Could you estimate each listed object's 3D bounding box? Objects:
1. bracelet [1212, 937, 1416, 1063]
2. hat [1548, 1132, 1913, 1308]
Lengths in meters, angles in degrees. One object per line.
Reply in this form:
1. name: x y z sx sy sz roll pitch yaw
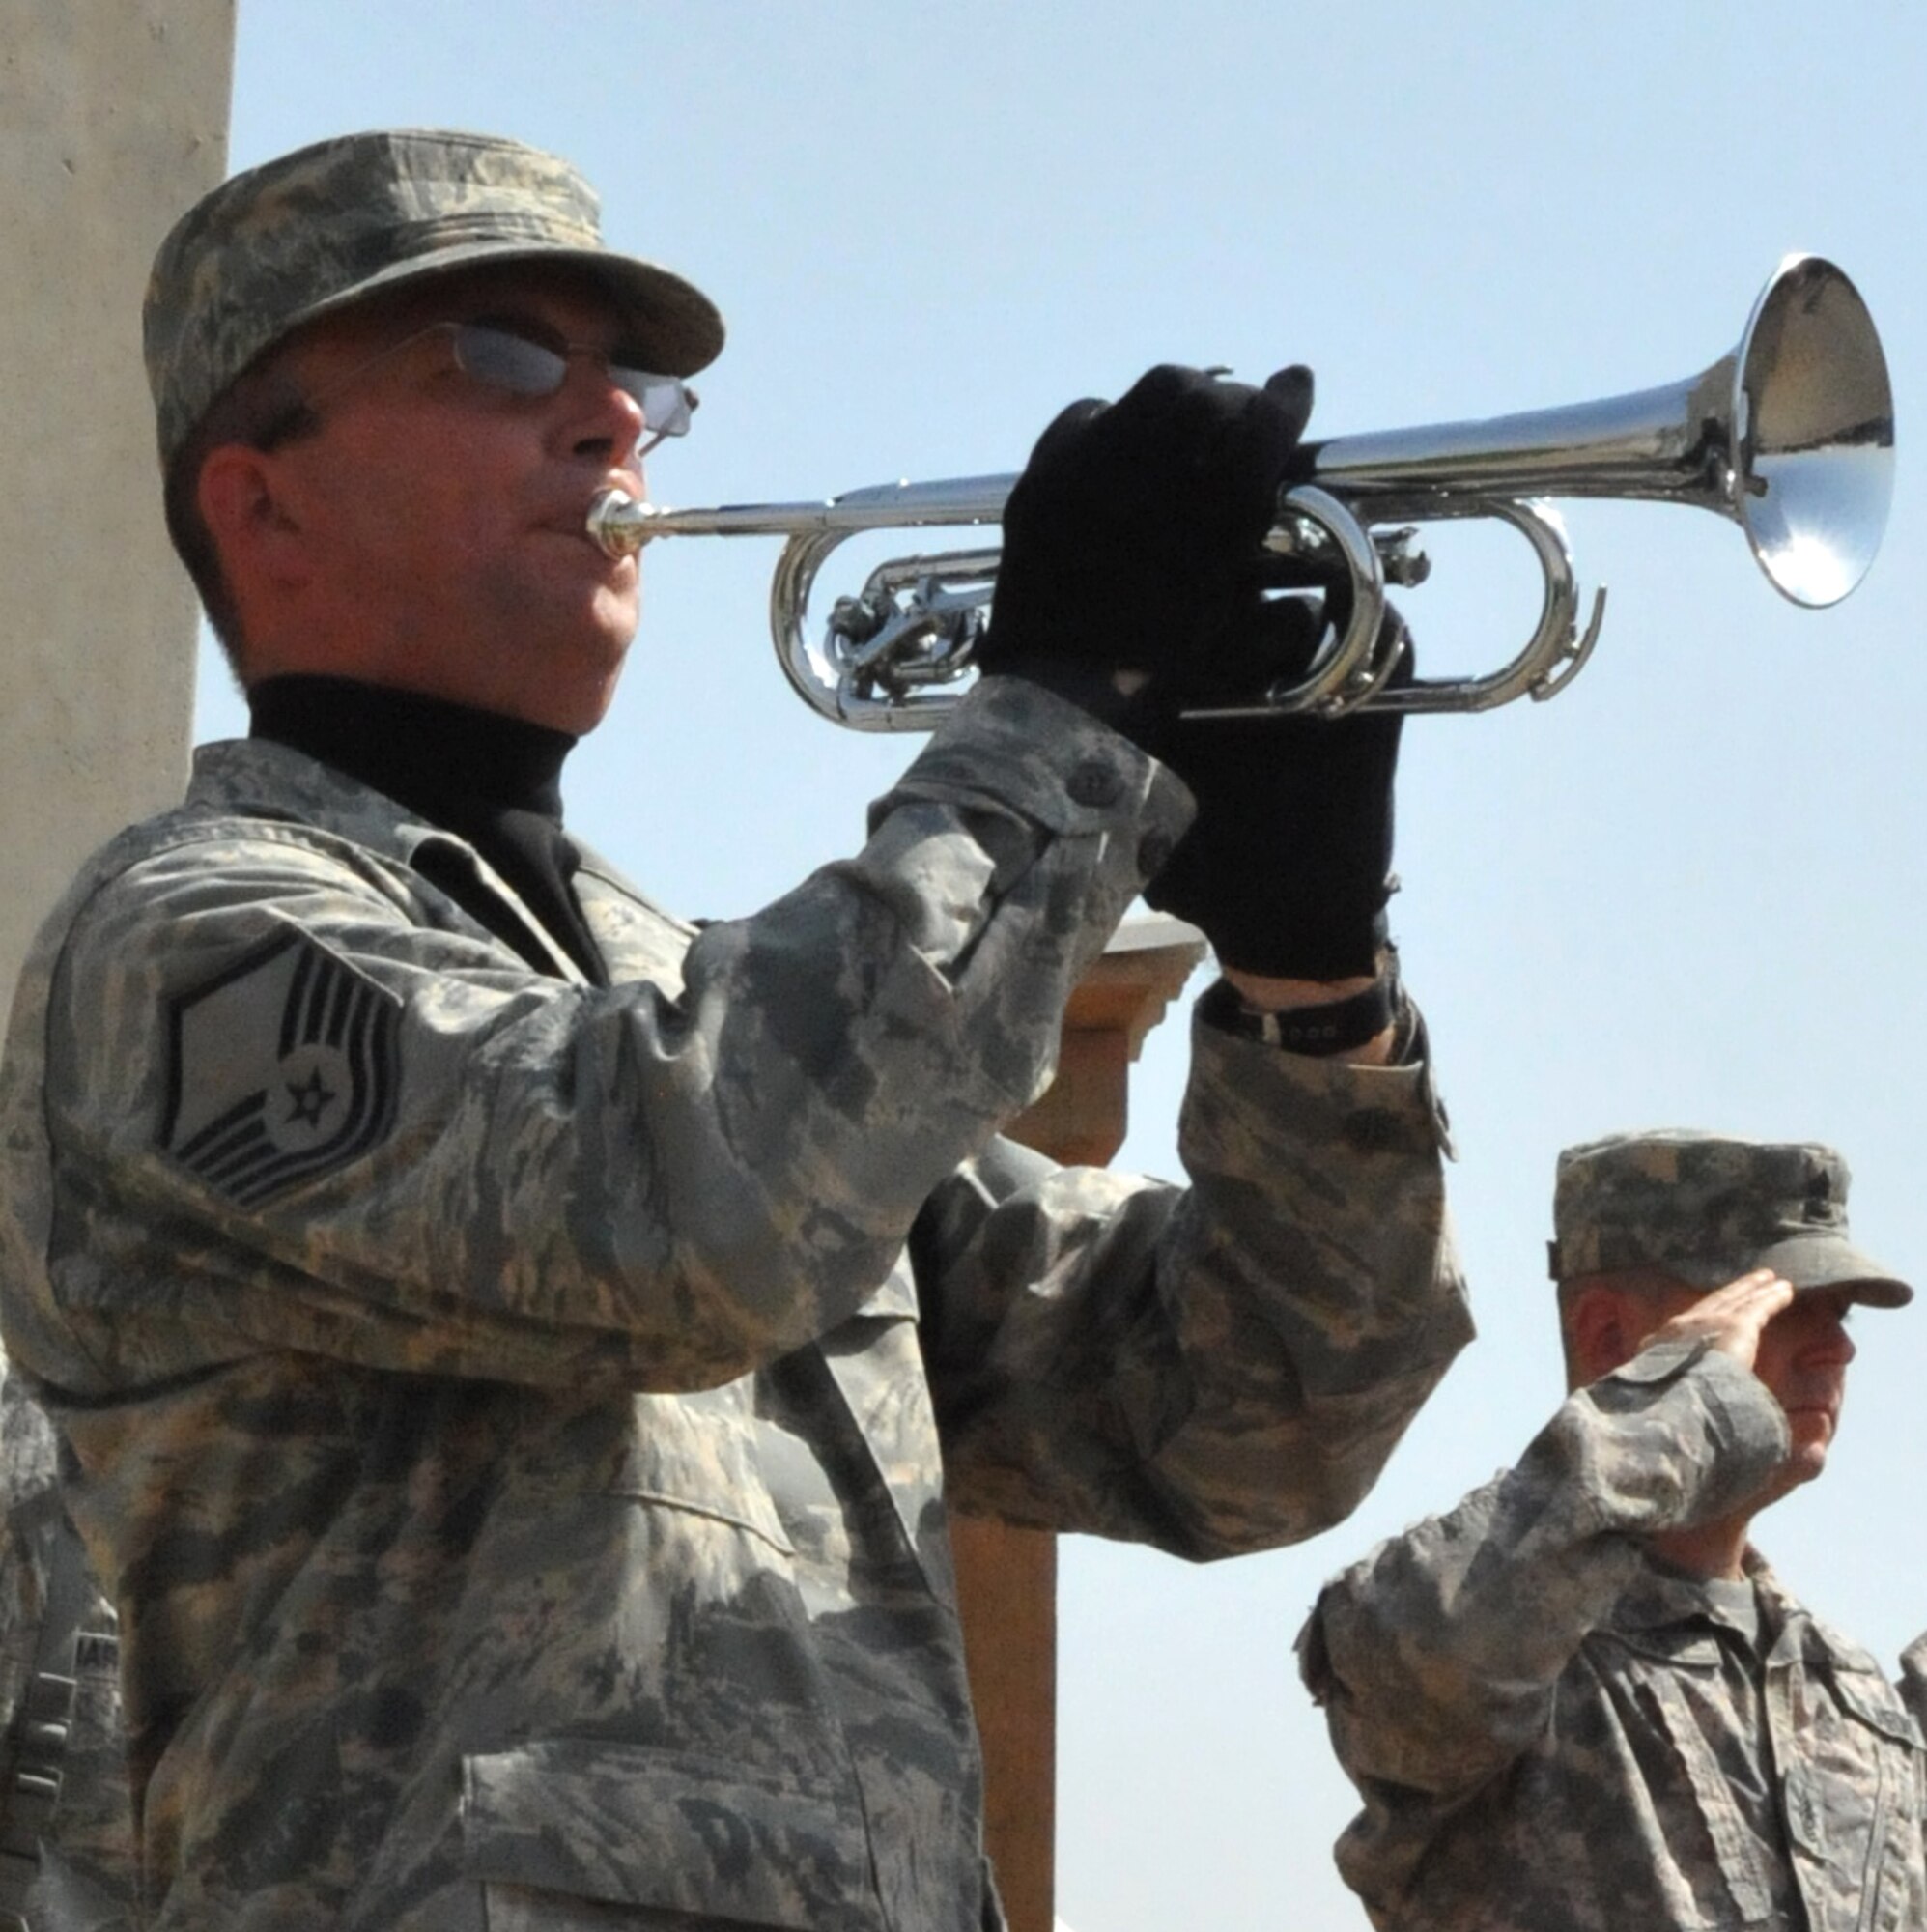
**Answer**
1. bracelet: 0.390 0.047 6.386 0.166 0.103 0.129 5 9 -1
2. hat: 1.070 0.385 8.097 0.568 0.242 0.394 0 -8 29
